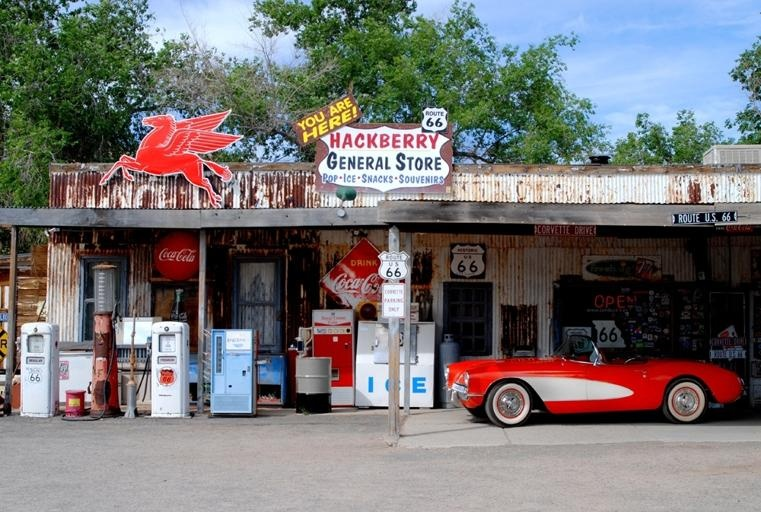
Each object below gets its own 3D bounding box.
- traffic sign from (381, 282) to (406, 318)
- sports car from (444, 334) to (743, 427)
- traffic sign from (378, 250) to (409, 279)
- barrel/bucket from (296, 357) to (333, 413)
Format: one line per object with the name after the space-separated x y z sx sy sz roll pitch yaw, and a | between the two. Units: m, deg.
0.264 0.890 20.983 0.703 0.951 0.123 0 -3 -2 | traffic sign
4.480 2.771 21.890 6.058 1.868 2.096 0 -2 2 | sports car
0.273 0.188 21.317 0.648 0.691 0.054 0 -8 -1 | traffic sign
-1.586 3.024 24.392 0.809 1.265 0.781 0 -3 0 | barrel/bucket
